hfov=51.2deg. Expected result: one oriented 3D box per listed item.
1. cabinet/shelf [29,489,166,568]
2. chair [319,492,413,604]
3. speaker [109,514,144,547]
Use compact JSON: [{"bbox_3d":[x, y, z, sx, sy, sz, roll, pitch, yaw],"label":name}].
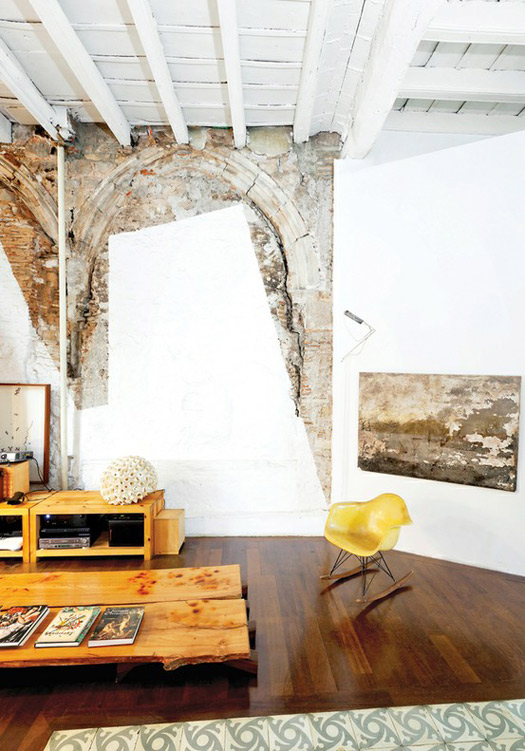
[{"bbox_3d":[-1.131,1.035,3.802,0.561,0.251,0.517,2,3,-1],"label":"cabinet/shelf"},{"bbox_3d":[0.644,1.000,3.527,0.575,0.660,0.575,-5,9,-33],"label":"chair"},{"bbox_3d":[-0.928,1.043,3.712,0.220,0.158,0.217,0,-3,-4],"label":"speaker"}]
